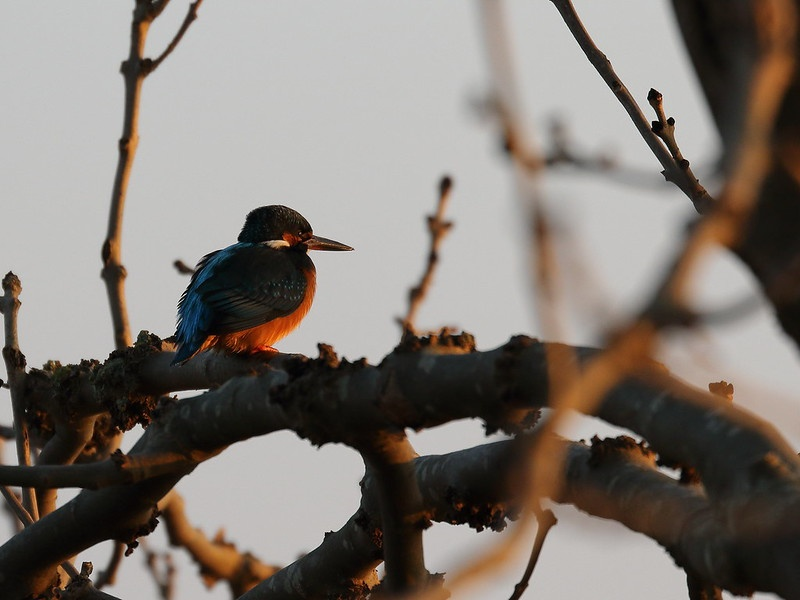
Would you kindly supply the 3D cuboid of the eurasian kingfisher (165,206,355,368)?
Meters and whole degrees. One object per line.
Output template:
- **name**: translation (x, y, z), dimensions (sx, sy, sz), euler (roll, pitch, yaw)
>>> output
- **eurasian kingfisher**: translation (-0.691, -0.077, 7.433), dimensions (0.908, 0.760, 0.557), euler (3, -10, -26)
